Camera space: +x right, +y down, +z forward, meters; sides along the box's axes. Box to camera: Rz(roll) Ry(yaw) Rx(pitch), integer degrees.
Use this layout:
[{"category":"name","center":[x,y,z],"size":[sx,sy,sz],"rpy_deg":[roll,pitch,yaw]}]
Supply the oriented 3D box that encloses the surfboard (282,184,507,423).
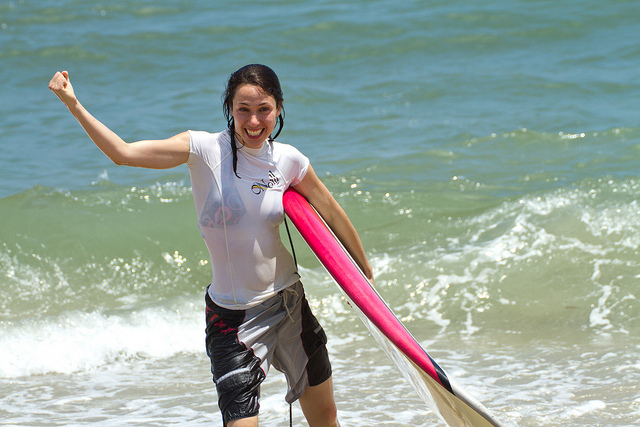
[{"category":"surfboard","center":[0.683,1.012,10.644],"size":[1.894,2.825,0.509],"rpy_deg":[0,18,42]}]
